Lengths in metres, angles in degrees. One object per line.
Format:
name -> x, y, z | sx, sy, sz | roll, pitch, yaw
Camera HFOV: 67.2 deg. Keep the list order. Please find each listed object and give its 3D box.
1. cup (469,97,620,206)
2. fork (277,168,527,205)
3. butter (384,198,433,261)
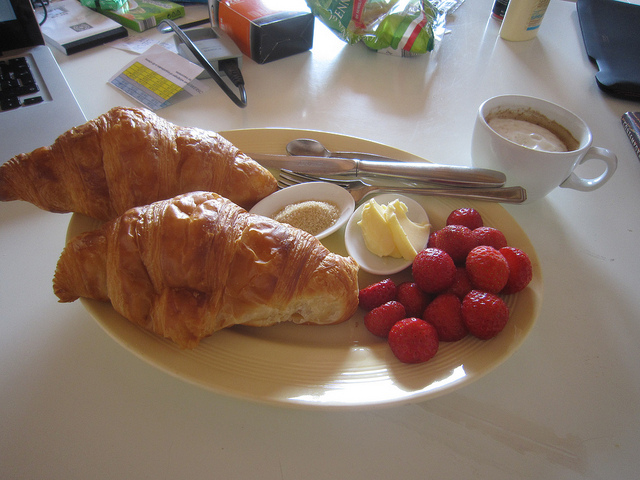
cup -> 0.557, -0.205, 1.232 | 0.330, 0.217, 0.265 | 23, 42, 20
fork -> 0.224, -0.133, 1.213 | 0.547, 0.032, 0.081 | 4, 61, 10
butter -> 0.204, -0.024, 1.133 | 0.113, 0.125, 0.134 | -2, 30, -17
